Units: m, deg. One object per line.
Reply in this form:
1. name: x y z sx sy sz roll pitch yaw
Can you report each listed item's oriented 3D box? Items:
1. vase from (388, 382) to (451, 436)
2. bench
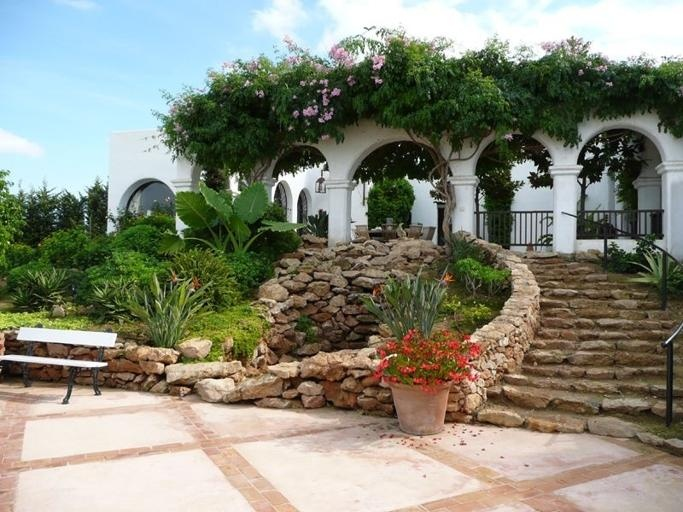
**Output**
1. vase: 0.854 1.738 5.309 0.781 0.592 0.803 -5 -11 36
2. bench: -4.125 1.549 6.655 2.037 0.922 1.012 2 2 25
